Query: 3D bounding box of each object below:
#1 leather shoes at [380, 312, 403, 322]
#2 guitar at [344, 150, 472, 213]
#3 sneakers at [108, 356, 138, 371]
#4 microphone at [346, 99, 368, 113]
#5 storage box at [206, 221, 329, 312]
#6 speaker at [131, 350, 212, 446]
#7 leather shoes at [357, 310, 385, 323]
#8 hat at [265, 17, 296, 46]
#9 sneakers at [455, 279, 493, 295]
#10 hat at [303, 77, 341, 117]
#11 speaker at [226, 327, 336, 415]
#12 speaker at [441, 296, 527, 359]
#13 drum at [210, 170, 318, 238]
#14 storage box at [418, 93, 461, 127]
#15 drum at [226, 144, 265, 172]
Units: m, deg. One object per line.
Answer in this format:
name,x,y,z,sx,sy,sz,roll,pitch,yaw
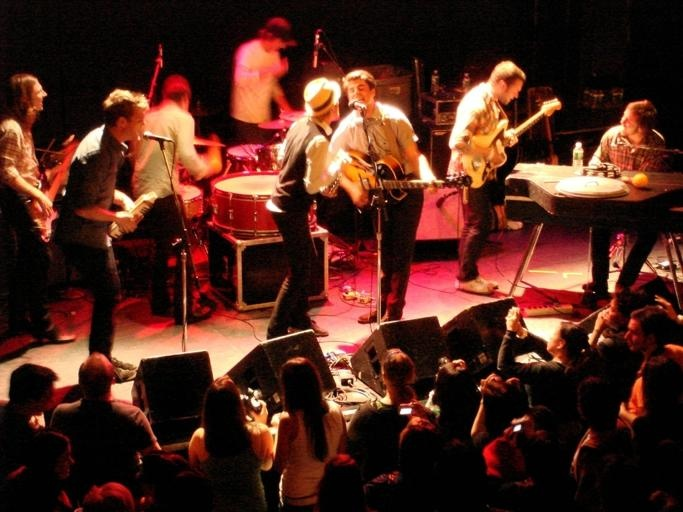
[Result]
leather shoes,0.419,0.519,4.896,0.157,0.060,0.198,-1,-1,9
guitar,0.449,-0.558,4.400,0.951,0.408,0.863,2,12,3
sneakers,-1.706,0.839,4.539,0.124,0.062,0.191,20,3,37
microphone,0.113,-1.076,4.162,0.063,0.063,0.271,29,2,-25
storage box,-0.735,0.001,5.689,1.025,0.679,0.973,-8,14,-36
speaker,-1.043,0.815,3.659,0.463,0.512,0.569,-2,27,-20
leather shoes,0.239,0.550,5.252,0.353,0.115,0.110,1,4,9
hat,-0.739,-2.672,6.904,0.364,0.296,0.213,-3,13,-31
sneakers,1.337,0.308,5.812,0.297,0.106,0.151,1,7,16
hat,-0.109,-1.173,4.231,0.284,0.295,0.117,-19,-29,23
speaker,-0.381,0.710,3.789,0.587,0.370,0.605,-3,-11,-26
speaker,1.017,0.473,4.267,0.477,0.322,0.475,-8,-13,-33
drum,-0.978,-0.455,5.538,0.780,0.301,0.793,1,22,-1
storage box,1.193,-1.822,7.219,0.541,0.280,0.497,-6,21,-18
drum,-1.168,-1.180,6.992,0.540,0.285,0.492,2,17,-1
